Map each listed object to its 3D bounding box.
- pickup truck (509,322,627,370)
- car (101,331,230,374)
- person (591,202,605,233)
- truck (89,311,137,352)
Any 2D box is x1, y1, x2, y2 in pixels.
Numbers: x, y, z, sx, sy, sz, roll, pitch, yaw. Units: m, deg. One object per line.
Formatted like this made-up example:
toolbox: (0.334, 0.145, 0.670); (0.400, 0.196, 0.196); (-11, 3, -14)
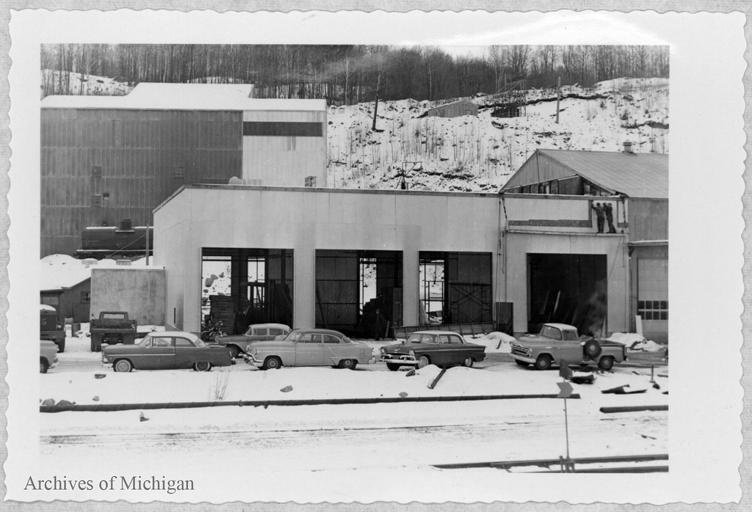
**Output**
pickup truck: (7.384, 3.640, 65.731); (3.848, 1.744, 1.139); (0, -2, -11)
car: (-8.018, 3.779, 64.738); (4.934, 1.609, 2.056); (0, -1, -14)
person: (9.561, -1.507, 72.702); (0.616, 1.323, 0.184); (1, -2, -20)
truck: (-10.673, 3.191, 68.383); (1.770, 1.353, 3.057); (1, 1, -8)
